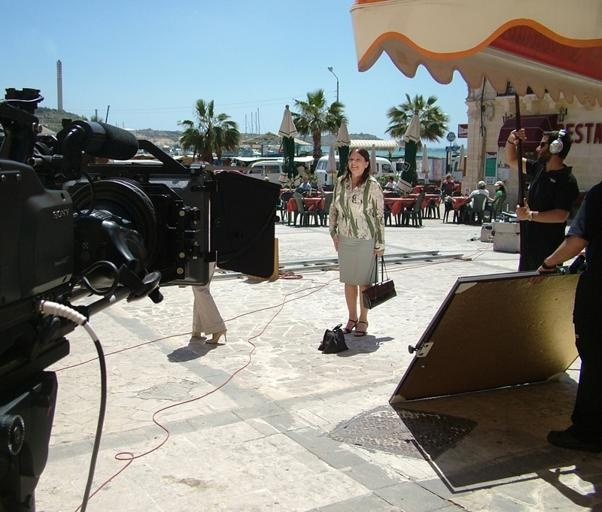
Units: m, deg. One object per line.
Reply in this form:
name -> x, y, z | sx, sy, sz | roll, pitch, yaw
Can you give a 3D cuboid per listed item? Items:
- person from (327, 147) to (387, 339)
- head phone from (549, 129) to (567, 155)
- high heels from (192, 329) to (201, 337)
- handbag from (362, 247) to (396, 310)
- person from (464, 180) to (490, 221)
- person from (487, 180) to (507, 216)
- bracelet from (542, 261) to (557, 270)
person -> 0.549, -0.138, 5.187 | 0.291, 1.915, 0.606 | -6, 9, -44
head phone -> 2.008, -0.889, 3.891 | 0.088, 0.198, 0.207 | 15, 6, 29
high heels -> -1.093, 0.799, 5.234 | 0.085, 0.088, 0.065 | -1, -6, 20
handbag -> 0.901, 0.272, 5.755 | 0.168, 0.738, 0.540 | 9, 29, 43
person -> 6.242, -1.907, 17.660 | 0.722, 1.483, 1.649 | 3, 8, 20
person -> 6.864, -1.937, 17.372 | 0.475, 1.317, 2.292 | 3, 8, 21
bracelet -> 1.598, 0.056, 3.190 | 0.044, 0.031, 0.071 | -2, 2, -21
